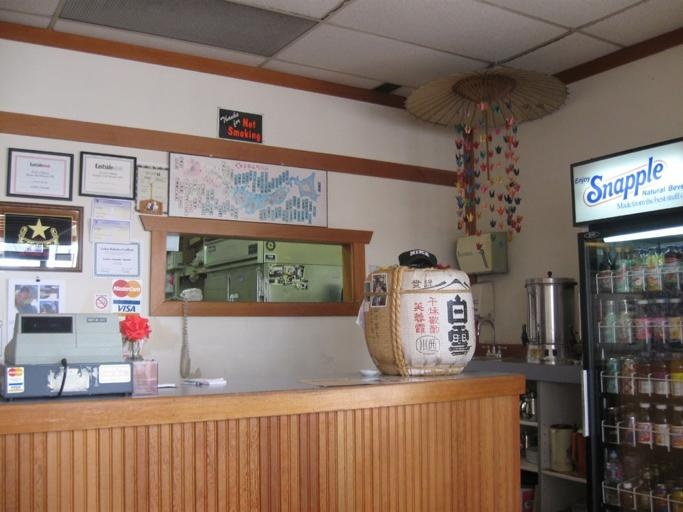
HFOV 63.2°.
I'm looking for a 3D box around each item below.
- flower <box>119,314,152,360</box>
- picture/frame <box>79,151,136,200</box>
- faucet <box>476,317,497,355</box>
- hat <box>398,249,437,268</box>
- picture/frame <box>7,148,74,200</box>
[{"bbox_3d":[-0.907,0.344,2.451,0.162,0.202,0.176,0,1,-25],"label":"flower"},{"bbox_3d":[-1.756,-0.585,4.083,0.344,0.338,0.028,4,-10,-26],"label":"picture/frame"},{"bbox_3d":[1.341,0.738,5.091,0.186,0.346,0.308,-1,-4,15],"label":"faucet"},{"bbox_3d":[0.357,0.015,2.681,0.216,0.096,0.186,2,-4,-19],"label":"hat"},{"bbox_3d":[-2.160,-0.568,3.901,0.355,0.353,0.025,3,-11,-26],"label":"picture/frame"}]
